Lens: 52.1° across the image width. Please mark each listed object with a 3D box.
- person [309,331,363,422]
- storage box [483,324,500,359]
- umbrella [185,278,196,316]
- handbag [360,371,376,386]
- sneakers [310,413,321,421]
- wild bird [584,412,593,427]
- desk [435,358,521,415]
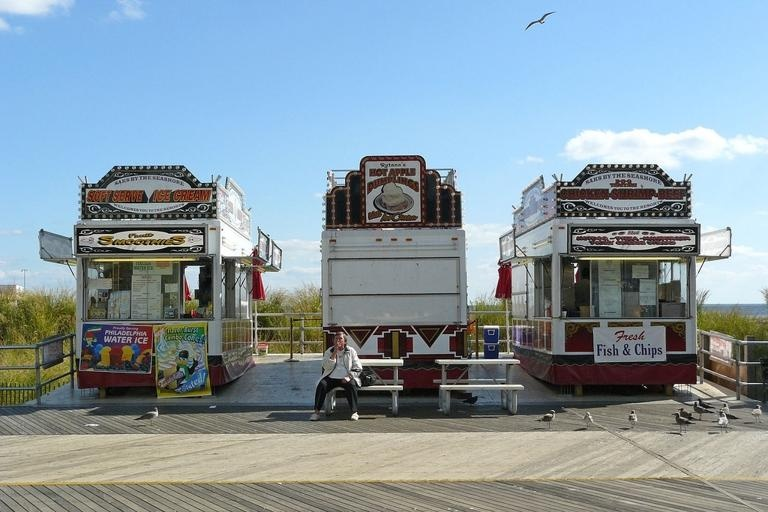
[{"bbox_3d":[-0.995,2.425,16.055,1.023,1.658,1.294,0,6,-2],"label":"person"},{"bbox_3d":[2.588,2.098,19.082,0.342,0.740,0.473,0,6,1],"label":"storage box"},{"bbox_3d":[-4.524,0.948,17.937,0.170,0.852,0.319,-6,9,-42],"label":"umbrella"},{"bbox_3d":[-0.372,2.541,16.296,0.394,0.195,0.524,0,-6,-5],"label":"handbag"},{"bbox_3d":[-1.399,3.180,15.692,0.196,0.122,0.359,-1,6,-4],"label":"sneakers"},{"bbox_3d":[3.896,3.105,14.991,0.222,0.217,0.301,0,-17,15],"label":"wild bird"},{"bbox_3d":[1.909,2.766,16.709,1.330,0.728,1.445,0,-11,-2],"label":"desk"}]
